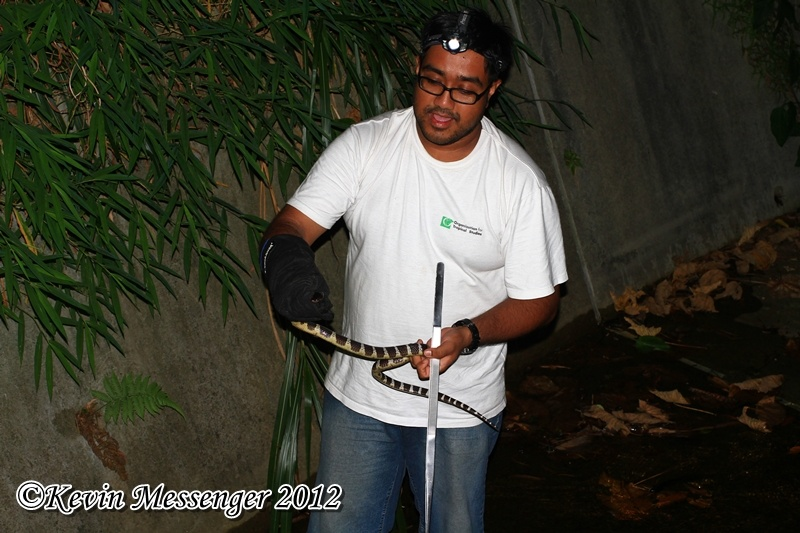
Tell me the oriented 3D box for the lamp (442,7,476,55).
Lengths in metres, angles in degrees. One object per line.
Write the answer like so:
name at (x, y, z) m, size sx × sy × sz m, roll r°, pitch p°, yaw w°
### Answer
lamp at (0.365, -1.428, 4.764) m, size 0.133 × 0.269 × 0.108 m, roll 17°, pitch -1°, yaw 18°

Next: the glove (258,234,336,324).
glove at (-0.634, 0.124, 4.711) m, size 0.300 × 0.446 × 0.576 m, roll -11°, pitch 50°, yaw -24°

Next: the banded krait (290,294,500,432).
banded krait at (-0.272, 0.614, 4.918) m, size 1.732 × 0.180 × 0.552 m, roll 23°, pitch 21°, yaw 9°
